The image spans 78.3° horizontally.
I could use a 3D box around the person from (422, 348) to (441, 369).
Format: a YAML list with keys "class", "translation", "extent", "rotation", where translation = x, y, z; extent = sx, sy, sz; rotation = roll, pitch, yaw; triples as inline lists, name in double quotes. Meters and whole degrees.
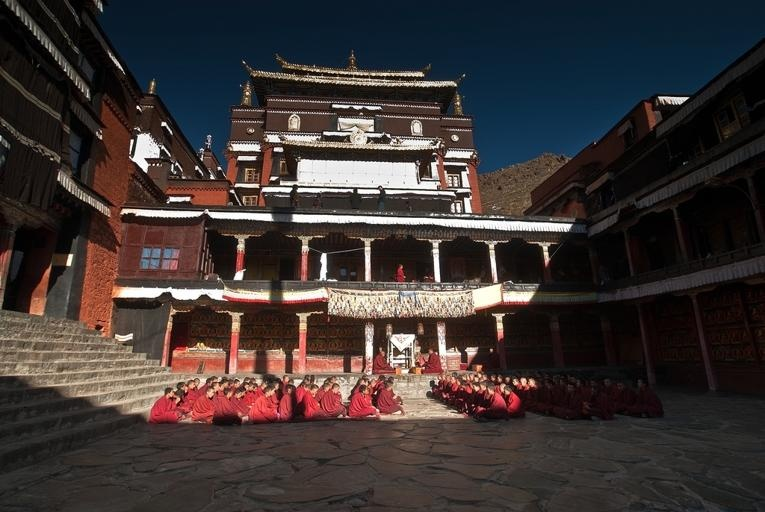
- class: "person"
  translation: [2.129, 4.758, 20.666]
  extent: [0.747, 0.750, 0.711]
  rotation: [5, -20, -6]

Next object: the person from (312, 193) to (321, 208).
- class: "person"
  translation: [-3.388, -2.868, 24.269]
  extent: [0.306, 0.901, 1.865]
  rotation: [0, 2, -13]
